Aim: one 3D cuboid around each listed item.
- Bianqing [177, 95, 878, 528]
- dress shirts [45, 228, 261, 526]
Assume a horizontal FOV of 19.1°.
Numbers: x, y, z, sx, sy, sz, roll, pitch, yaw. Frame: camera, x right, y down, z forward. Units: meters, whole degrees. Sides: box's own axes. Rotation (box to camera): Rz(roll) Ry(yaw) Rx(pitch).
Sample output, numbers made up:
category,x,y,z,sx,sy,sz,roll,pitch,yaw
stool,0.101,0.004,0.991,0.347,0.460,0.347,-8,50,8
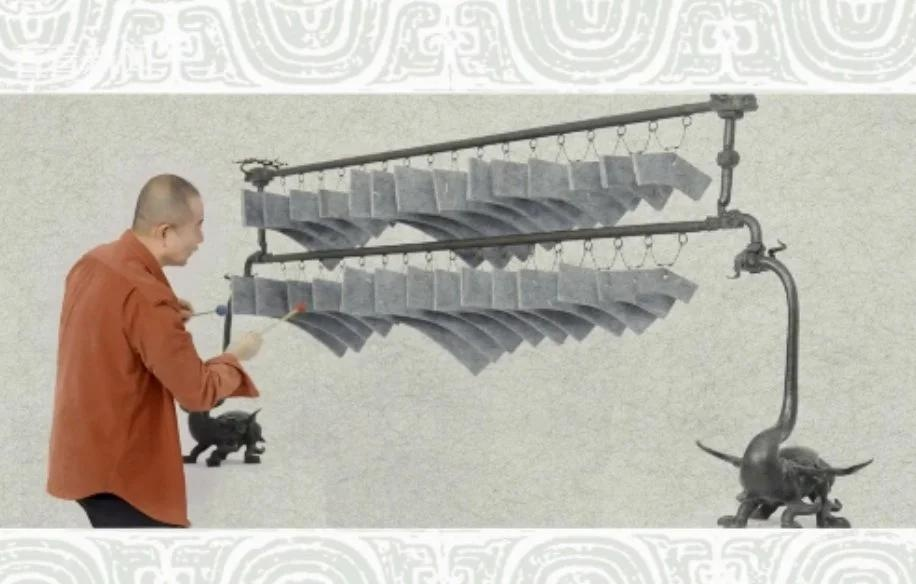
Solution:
category,x,y,z,sx,sy,sz,roll,pitch,yaw
Bianqing,-0.004,0.022,16.252,4.185,1.979,0.764,-4,0,35
dress shirts,-1.730,0.449,14.725,1.086,1.451,0.719,-2,-26,-9
